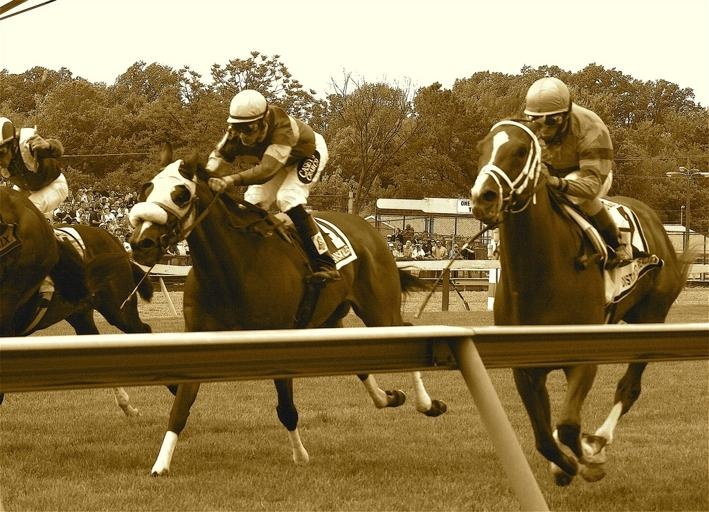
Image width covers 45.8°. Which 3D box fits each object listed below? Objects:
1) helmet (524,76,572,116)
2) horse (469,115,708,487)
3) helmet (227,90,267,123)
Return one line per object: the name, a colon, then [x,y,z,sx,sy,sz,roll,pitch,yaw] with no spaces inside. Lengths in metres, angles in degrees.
helmet: [1.317,-1.095,5.711,0.234,0.182,0.326,1,26,21]
horse: [1.798,0.305,6.278,0.852,2.450,4.121,-1,1,35]
helmet: [-0.740,-1.035,5.795,0.271,0.240,0.189,0,5,-6]
